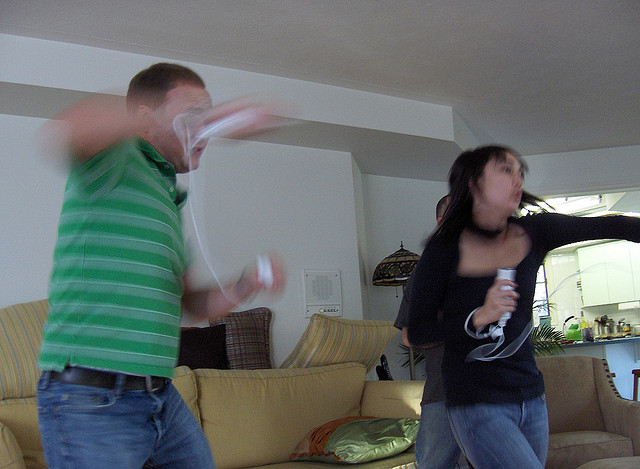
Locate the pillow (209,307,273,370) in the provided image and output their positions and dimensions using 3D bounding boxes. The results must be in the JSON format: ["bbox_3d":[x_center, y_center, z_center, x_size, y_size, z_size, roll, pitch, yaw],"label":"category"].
[{"bbox_3d":[-0.574,0.739,3.472,0.541,0.575,0.179,9,-23,-37],"label":"pillow"}]

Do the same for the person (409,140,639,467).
[{"bbox_3d":[0.510,0.181,1.340,0.533,0.870,0.145,-1,-4,5],"label":"person"}]

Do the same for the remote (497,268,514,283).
[{"bbox_3d":[0.480,0.103,1.298,0.041,0.028,0.012,-1,-4,10],"label":"remote"}]

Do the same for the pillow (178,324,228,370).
[{"bbox_3d":[-0.732,0.689,3.116,0.294,0.278,0.069,13,-24,-39],"label":"pillow"}]

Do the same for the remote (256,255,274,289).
[{"bbox_3d":[-0.144,0.098,1.315,0.019,0.068,0.074,-10,1,-3],"label":"remote"}]

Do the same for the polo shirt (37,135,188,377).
[{"bbox_3d":[-0.486,0.050,1.215,0.322,0.588,0.135,2,-4,-27],"label":"polo shirt"}]

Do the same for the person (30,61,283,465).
[{"bbox_3d":[-0.391,0.071,1.235,0.553,1.040,0.276,1,-4,-23],"label":"person"}]
